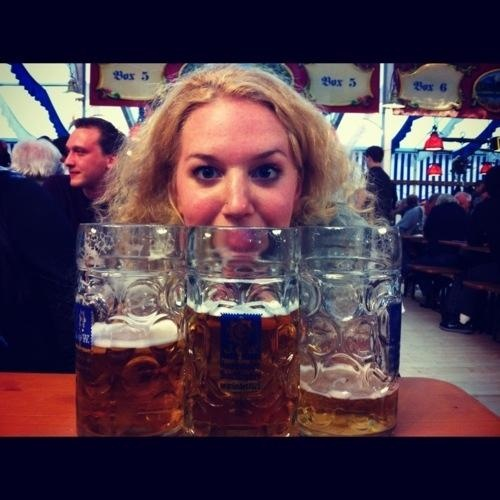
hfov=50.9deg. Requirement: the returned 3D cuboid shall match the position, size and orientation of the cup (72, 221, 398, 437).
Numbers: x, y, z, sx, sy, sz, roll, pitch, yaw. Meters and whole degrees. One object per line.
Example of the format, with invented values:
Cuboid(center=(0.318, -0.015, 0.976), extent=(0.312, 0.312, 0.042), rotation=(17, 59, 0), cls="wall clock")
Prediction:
Cuboid(center=(-0.009, 0.106, 0.674), extent=(0.423, 0.278, 0.129), rotation=(1, 2, -11), cls="cup")
